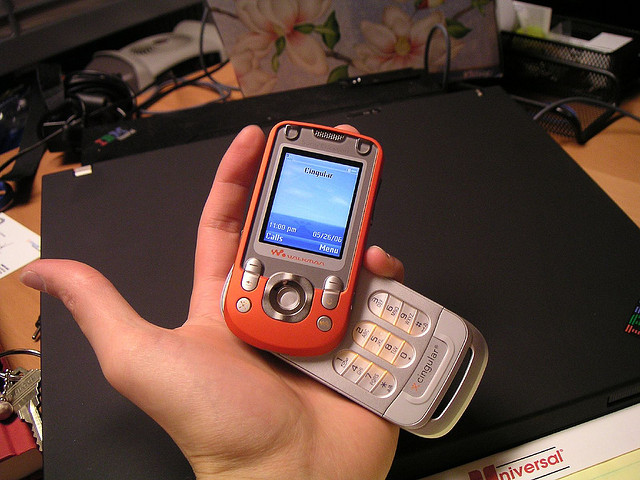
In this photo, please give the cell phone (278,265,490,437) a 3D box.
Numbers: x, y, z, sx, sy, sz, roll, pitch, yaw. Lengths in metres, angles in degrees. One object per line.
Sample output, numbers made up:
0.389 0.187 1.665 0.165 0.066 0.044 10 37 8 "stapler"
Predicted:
0.077 0.130 0.663 0.279 0.037 0.139 19 74 53 "cell phone"
